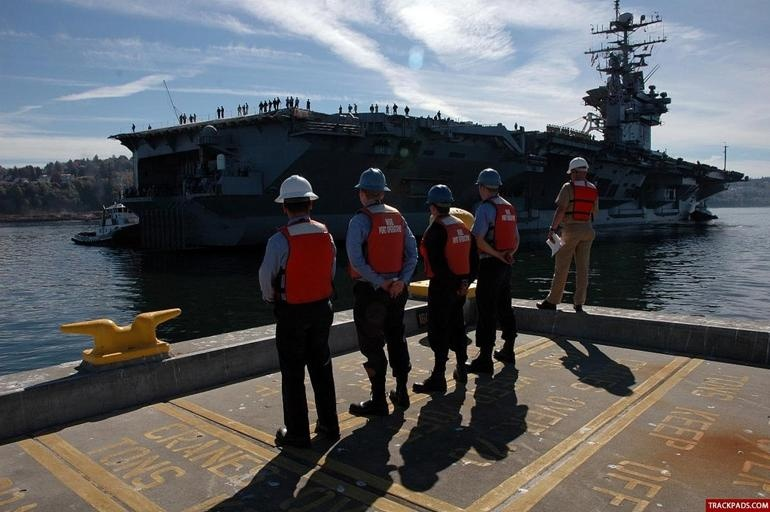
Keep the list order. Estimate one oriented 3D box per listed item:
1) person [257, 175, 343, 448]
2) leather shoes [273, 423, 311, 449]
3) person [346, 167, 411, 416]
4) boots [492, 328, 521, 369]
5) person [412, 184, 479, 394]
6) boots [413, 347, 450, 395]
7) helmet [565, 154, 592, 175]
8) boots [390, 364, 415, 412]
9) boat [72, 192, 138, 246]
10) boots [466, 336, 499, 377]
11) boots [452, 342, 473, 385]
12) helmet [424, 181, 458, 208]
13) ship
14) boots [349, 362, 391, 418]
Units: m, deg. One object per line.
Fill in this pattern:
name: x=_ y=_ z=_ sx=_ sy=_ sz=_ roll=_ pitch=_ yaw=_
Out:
person: x=-0.825 y=0.764 z=5.567 sx=0.758 sy=2.170 sz=0.600 roll=-3 pitch=8 yaw=-12
leather shoes: x=-0.927 y=1.782 z=5.474 sx=0.362 sy=0.190 sz=0.149 roll=2 pitch=8 yaw=24
person: x=-0.061 y=0.380 z=6.158 sx=0.588 sy=2.657 sz=0.828 roll=4 pitch=10 yaw=34
boots: x=1.609 y=1.246 z=7.500 sx=0.219 sy=0.342 sz=0.411 roll=0 pitch=-6 yaw=-37
person: x=0.706 y=0.381 z=6.693 sx=0.494 sy=2.420 sz=0.861 roll=5 pitch=11 yaw=39
boots: x=0.575 y=1.432 z=6.719 sx=0.536 sy=0.461 sz=0.266 roll=-17 pitch=-29 yaw=41
helmet: x=2.861 y=-1.338 z=8.316 sx=0.207 sy=0.236 sz=0.406 roll=3 pitch=8 yaw=29
boots: x=0.193 y=1.496 z=6.481 sx=0.269 sy=0.424 sz=0.507 roll=-5 pitch=0 yaw=-8
boat: x=-22.598 y=-2.282 z=45.339 sx=3.436 sy=2.608 sz=8.473 roll=-5 pitch=0 yaw=-39
boots: x=1.247 y=1.302 z=7.153 sx=0.274 sy=0.429 sz=0.510 roll=6 pitch=-16 yaw=-37
boots: x=0.924 y=1.308 z=6.745 sx=0.233 sy=0.331 sz=0.526 roll=0 pitch=12 yaw=4
helmet: x=0.677 y=-0.753 z=6.821 sx=0.419 sy=0.243 sz=0.517 roll=0 pitch=13 yaw=-4
ship: x=7.422 y=-5.634 z=45.376 sx=47.471 sy=17.311 sz=24.340 roll=-2 pitch=4 yaw=-33
boots: x=-0.180 y=1.451 z=6.072 sx=0.428 sy=0.553 sz=0.200 roll=-2 pitch=8 yaw=-3
